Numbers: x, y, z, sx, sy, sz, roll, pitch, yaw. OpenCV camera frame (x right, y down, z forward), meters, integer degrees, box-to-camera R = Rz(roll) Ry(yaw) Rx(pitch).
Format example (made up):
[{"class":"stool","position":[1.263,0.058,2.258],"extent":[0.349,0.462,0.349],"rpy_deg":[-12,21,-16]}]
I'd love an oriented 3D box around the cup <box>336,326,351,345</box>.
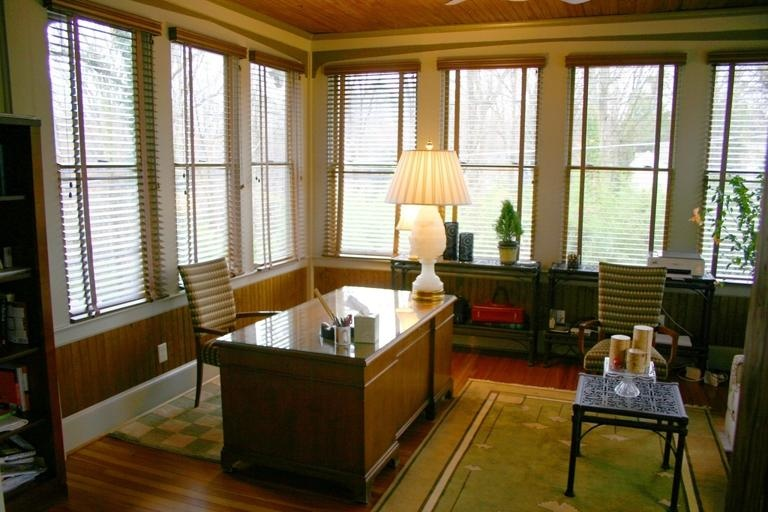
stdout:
[{"class":"cup","position":[-0.287,0.569,4.073],"extent":[0.131,0.106,0.101],"rpy_deg":[0,2,-32]}]

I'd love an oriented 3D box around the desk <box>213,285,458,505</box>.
[{"class":"desk","position":[-0.311,0.463,4.382],"extent":[1.354,1.049,2.284],"rpy_deg":[5,11,25]}]

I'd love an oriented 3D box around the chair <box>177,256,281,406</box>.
[{"class":"chair","position":[-1.333,0.719,5.180],"extent":[0.814,1.165,0.749],"rpy_deg":[0,5,17]}]

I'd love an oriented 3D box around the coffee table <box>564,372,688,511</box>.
[{"class":"coffee table","position":[1.746,1.394,4.194],"extent":[0.901,0.672,0.913],"rpy_deg":[3,10,20]}]

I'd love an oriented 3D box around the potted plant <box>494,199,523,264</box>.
[{"class":"potted plant","position":[1.379,-0.262,6.313],"extent":[0.362,0.670,0.268],"rpy_deg":[-7,12,-40]}]

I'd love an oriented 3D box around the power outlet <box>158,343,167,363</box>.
[{"class":"power outlet","position":[-2.009,0.881,5.241],"extent":[0.012,0.184,0.099],"rpy_deg":[5,10,27]}]

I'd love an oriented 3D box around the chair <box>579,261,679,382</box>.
[{"class":"chair","position":[2.273,0.539,5.335],"extent":[0.776,0.907,1.241],"rpy_deg":[5,10,26]}]

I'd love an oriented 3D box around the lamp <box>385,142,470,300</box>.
[{"class":"lamp","position":[0.372,-0.284,5.036],"extent":[0.726,1.330,0.327],"rpy_deg":[2,9,7]}]

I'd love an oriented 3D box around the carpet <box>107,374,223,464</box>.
[{"class":"carpet","position":[-1.866,1.389,4.841],"extent":[0.510,0.026,0.722],"rpy_deg":[7,12,20]}]

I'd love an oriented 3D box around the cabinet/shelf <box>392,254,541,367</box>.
[{"class":"cabinet/shelf","position":[0.891,0.558,5.855],"extent":[1.199,0.729,0.421],"rpy_deg":[2,8,17]}]

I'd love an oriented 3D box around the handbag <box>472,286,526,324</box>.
[{"class":"handbag","position":[1.275,0.427,6.336],"extent":[0.665,0.424,0.375],"rpy_deg":[3,12,18]}]
